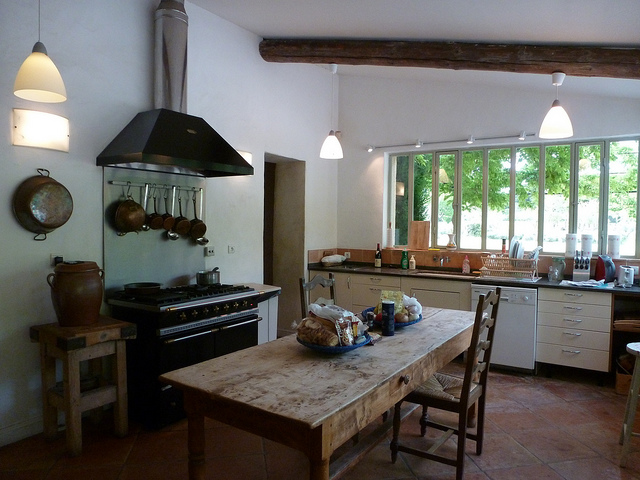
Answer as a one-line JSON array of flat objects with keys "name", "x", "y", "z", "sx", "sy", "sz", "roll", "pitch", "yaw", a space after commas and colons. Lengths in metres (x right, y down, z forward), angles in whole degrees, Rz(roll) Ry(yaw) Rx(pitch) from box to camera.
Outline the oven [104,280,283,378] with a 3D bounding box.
[{"name": "oven", "x": -1.031, "y": 0.844, "z": 5.010, "sx": 0.699, "sy": 0.917, "sz": 1.460, "roll": 7, "pitch": 11, "yaw": 41}]

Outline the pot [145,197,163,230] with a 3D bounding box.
[{"name": "pot", "x": -1.594, "y": -0.253, "z": 4.877, "sx": 0.131, "sy": 0.308, "sz": 0.069, "roll": -4, "pitch": 6, "yaw": -40}]

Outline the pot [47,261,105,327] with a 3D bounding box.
[{"name": "pot", "x": -2.047, "y": 0.442, "z": 4.272, "sx": 0.464, "sy": 0.513, "sz": 0.389, "roll": -2, "pitch": 4, "yaw": -35}]

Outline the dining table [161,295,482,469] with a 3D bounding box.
[{"name": "dining table", "x": 0.054, "y": 0.930, "z": 3.437, "sx": 1.887, "sy": 0.840, "sz": 1.008, "roll": -9, "pitch": 13, "yaw": -42}]

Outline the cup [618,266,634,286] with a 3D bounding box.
[{"name": "cup", "x": 3.181, "y": 0.370, "z": 5.276, "sx": 0.129, "sy": 0.186, "sz": 0.124, "roll": 0, "pitch": 10, "yaw": 0}]

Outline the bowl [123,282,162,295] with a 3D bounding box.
[{"name": "bowl", "x": -1.622, "y": 0.438, "z": 4.644, "sx": 0.324, "sy": 0.080, "sz": 0.278, "roll": -4, "pitch": 11, "yaw": -21}]

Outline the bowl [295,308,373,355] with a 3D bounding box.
[{"name": "bowl", "x": 0.065, "y": 0.551, "z": 3.446, "sx": 0.362, "sy": 0.171, "sz": 0.355, "roll": -2, "pitch": -1, "yaw": 0}]

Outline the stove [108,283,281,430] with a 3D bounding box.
[{"name": "stove", "x": -1.322, "y": 1.015, "z": 4.877, "sx": 0.948, "sy": 1.078, "sz": 1.683, "roll": 8, "pitch": 6, "yaw": 40}]

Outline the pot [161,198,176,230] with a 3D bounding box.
[{"name": "pot", "x": -1.483, "y": -0.224, "z": 4.983, "sx": 0.072, "sy": 0.243, "sz": 0.107, "roll": -4, "pitch": 3, "yaw": 43}]

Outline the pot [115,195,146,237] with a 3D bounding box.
[{"name": "pot", "x": -1.733, "y": -0.220, "z": 4.653, "sx": 0.111, "sy": 0.314, "sz": 0.261, "roll": 4, "pitch": -6, "yaw": 41}]

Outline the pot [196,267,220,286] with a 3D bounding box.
[{"name": "pot", "x": -1.141, "y": 0.376, "z": 5.186, "sx": 0.143, "sy": 0.135, "sz": 0.203, "roll": -2, "pitch": -6, "yaw": 3}]

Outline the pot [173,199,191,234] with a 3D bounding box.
[{"name": "pot", "x": -1.376, "y": -0.219, "z": 5.083, "sx": 0.181, "sy": 0.310, "sz": 0.090, "roll": -9, "pitch": 8, "yaw": -43}]

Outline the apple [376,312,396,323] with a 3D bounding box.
[{"name": "apple", "x": 0.506, "y": 0.585, "z": 3.879, "sx": 0.093, "sy": 0.079, "sz": 0.078, "roll": 22, "pitch": -8, "yaw": -18}]
